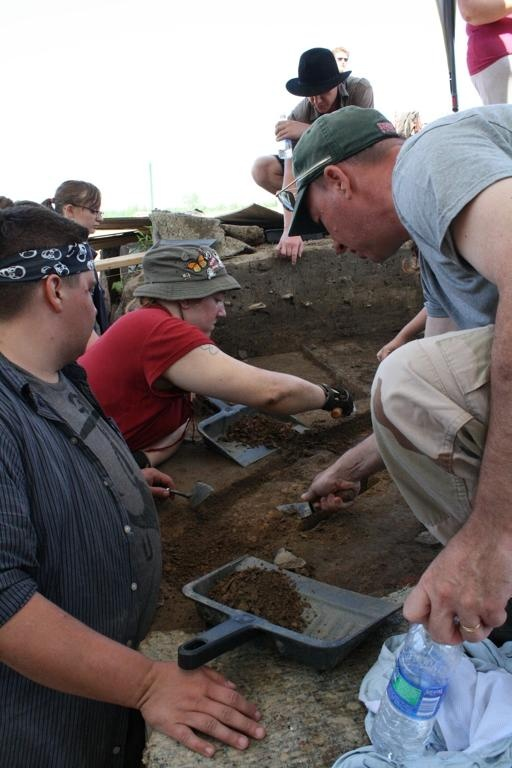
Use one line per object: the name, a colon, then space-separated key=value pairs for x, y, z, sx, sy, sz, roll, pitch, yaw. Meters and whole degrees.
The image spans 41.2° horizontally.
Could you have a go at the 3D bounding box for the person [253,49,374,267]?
person: x=0.452 y=-1.530 z=4.555 sx=0.835 sy=1.186 sz=0.704 roll=-7 pitch=31 yaw=-17

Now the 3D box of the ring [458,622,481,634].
ring: x=0.387 y=0.443 z=1.234 sx=0.035 sy=0.022 sz=0.013 roll=-6 pitch=11 yaw=18

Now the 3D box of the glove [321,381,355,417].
glove: x=0.316 y=0.067 z=2.657 sx=0.150 sy=0.061 sz=0.103 roll=30 pitch=-36 yaw=-30

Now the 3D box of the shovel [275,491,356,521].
shovel: x=0.231 y=0.445 z=2.477 sx=0.368 sy=0.091 sz=0.109 roll=-8 pitch=-22 yaw=36
